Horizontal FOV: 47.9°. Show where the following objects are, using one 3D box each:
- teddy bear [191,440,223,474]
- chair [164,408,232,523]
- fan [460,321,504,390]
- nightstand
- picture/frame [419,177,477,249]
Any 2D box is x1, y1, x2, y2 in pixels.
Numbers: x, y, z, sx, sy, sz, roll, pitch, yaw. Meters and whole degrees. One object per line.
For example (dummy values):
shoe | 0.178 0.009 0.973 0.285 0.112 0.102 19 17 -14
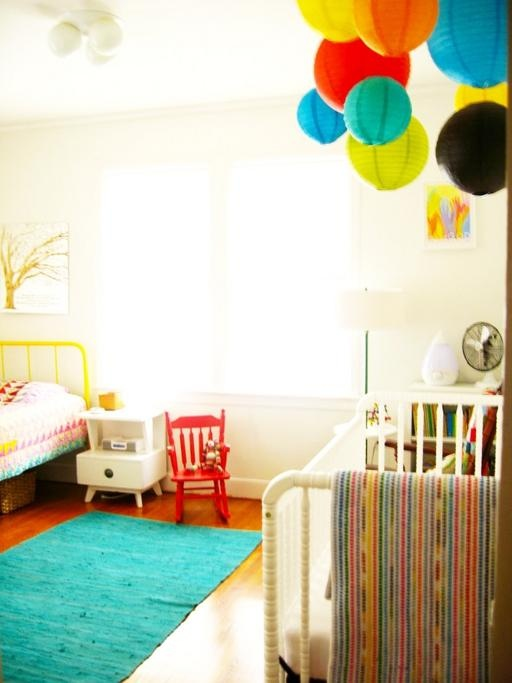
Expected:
teddy bear | -0.271 0.671 3.449 0.215 0.238 0.140 1 -8 0
chair | -0.337 0.739 3.402 0.374 0.632 0.448 -2 -2 2
fan | 1.294 0.060 3.109 0.218 0.346 0.337 0 2 -2
nightstand | -0.853 0.723 3.762 0.490 0.576 0.418 1 2 17
picture/frame | 1.116 -0.733 3.278 0.283 0.415 0.014 0 -11 11
